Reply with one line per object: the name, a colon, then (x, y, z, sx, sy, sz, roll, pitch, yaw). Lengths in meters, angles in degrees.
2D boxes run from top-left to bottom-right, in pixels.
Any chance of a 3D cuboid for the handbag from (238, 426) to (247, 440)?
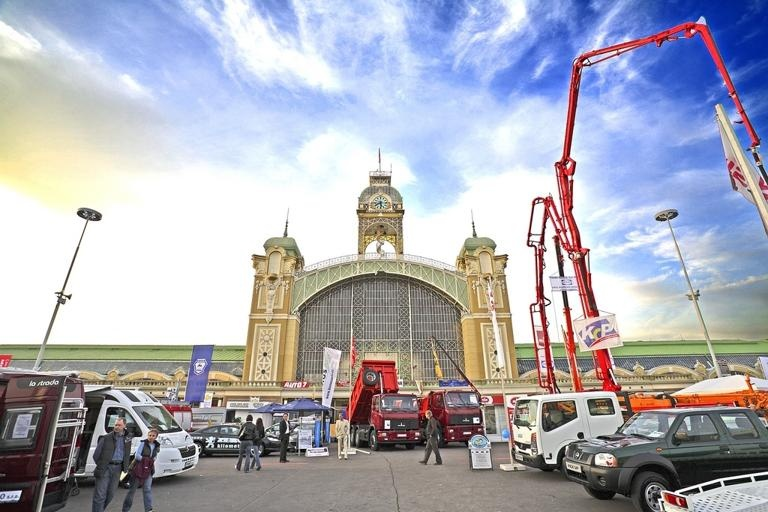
handbag: (-6.595, 8.249, 16.835, 0.208, 0.583, 0.467, 21, -31, -39)
